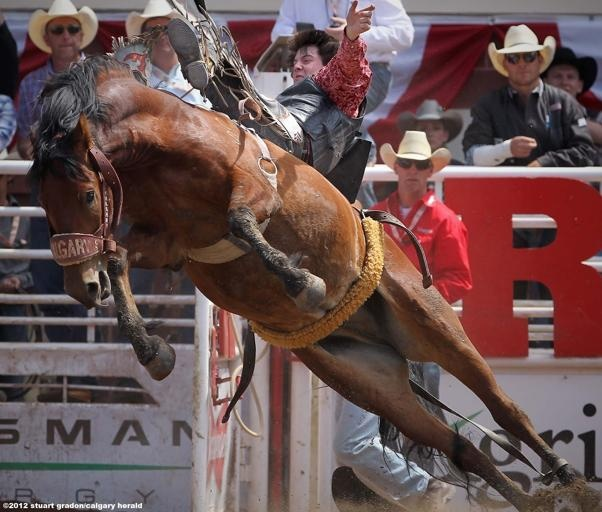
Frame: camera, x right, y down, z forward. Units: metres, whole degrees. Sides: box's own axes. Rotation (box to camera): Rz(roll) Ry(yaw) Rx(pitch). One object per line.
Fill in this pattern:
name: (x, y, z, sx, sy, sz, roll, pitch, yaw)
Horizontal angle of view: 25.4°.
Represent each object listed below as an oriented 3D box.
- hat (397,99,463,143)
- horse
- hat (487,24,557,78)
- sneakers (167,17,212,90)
hat: (1.019, -1.065, 10.717, 0.376, 0.155, 0.399, 0, -32, 10)
horse: (0.011, 0.320, 8.556, 3.951, 0.888, 1.605, 32, 36, -22)
hat: (1.682, -1.681, 10.403, 0.485, 0.230, 0.566, -5, 4, 14)
sneakers: (-0.619, -1.126, 7.514, 0.178, 0.426, 0.201, -20, 5, -2)
